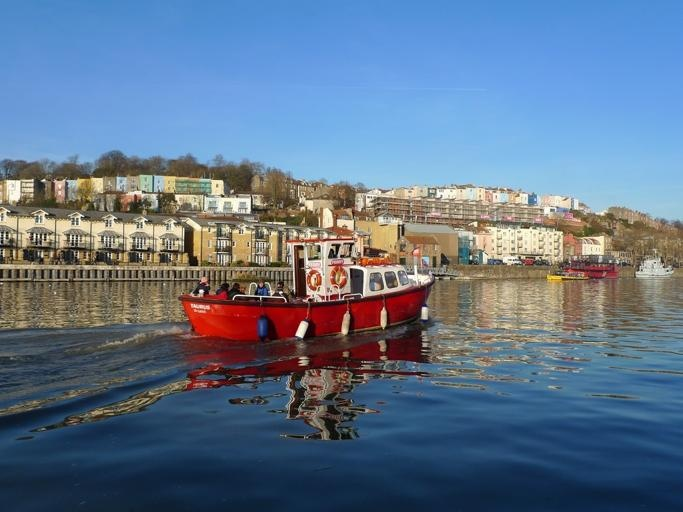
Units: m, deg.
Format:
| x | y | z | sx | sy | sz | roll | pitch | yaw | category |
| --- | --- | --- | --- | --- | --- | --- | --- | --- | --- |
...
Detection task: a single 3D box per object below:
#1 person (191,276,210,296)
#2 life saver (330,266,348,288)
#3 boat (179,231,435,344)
| x | y | z | sx | sy | sz | roll | pitch | yaw | category |
| --- | --- | --- | --- | --- | --- | --- | --- | --- | --- |
| -4.162 | 0.915 | 24.177 | 0.610 | 0.517 | 1.567 | -1 | -4 | -2 | person |
| -0.083 | 0.633 | 25.123 | 0.200 | 0.565 | 0.591 | -2 | -6 | 39 | life saver |
| -0.790 | 0.937 | 25.223 | 7.890 | 2.342 | 3.053 | -3 | 1 | -38 | boat |
